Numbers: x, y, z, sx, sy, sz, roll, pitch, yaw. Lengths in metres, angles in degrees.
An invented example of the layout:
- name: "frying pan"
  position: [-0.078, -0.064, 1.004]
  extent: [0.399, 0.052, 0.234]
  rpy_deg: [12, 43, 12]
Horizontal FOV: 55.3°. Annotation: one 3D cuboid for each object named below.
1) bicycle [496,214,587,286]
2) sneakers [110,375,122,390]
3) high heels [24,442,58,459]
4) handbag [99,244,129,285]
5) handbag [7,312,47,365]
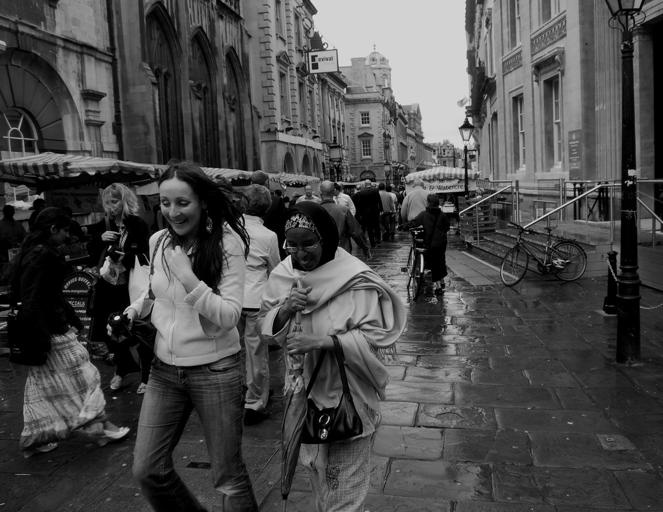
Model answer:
- name: "bicycle"
  position: [4.453, -0.081, 13.258]
  extent: [1.897, 1.436, 1.067]
  rpy_deg: [2, 6, 15]
- name: "sneakers"
  position: [-2.372, 1.410, 7.028]
  extent: [0.097, 0.088, 0.185]
  rpy_deg: [1, -3, -3]
- name: "high heels"
  position: [-2.522, 1.695, 5.573]
  extent: [0.110, 0.082, 0.309]
  rpy_deg: [4, 9, 41]
- name: "handbag"
  position: [-2.279, 0.138, 6.713]
  extent: [0.335, 0.432, 0.234]
  rpy_deg: [-12, 34, -19]
- name: "handbag"
  position: [-2.680, 0.713, 5.548]
  extent: [0.456, 0.496, 0.223]
  rpy_deg: [3, 8, 34]
